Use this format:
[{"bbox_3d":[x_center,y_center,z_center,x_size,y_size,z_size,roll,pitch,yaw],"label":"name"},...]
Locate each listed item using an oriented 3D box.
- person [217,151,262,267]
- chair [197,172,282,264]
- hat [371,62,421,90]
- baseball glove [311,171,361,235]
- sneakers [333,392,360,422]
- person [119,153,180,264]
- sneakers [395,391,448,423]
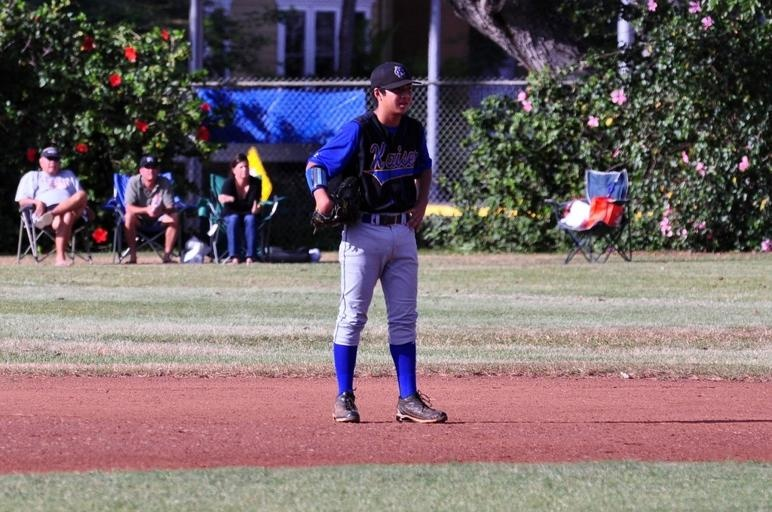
[{"bbox_3d":[-2.101,-0.637,24.163,0.567,1.525,0.543,6,15,19],"label":"person"},{"bbox_3d":[-2.026,-0.468,24.857,1.442,1.477,1.204,1,-3,-24],"label":"chair"},{"bbox_3d":[0.036,-1.846,17.218,0.279,0.172,0.400,-12,14,-43],"label":"hat"},{"bbox_3d":[-0.453,-0.515,17.331,0.412,0.567,0.218,2,-4,6],"label":"baseball glove"},{"bbox_3d":[-0.423,1.577,17.287,0.274,0.289,0.224,-1,15,-6],"label":"sneakers"},{"bbox_3d":[-3.418,-0.622,24.088,0.808,1.513,0.573,-2,15,-10],"label":"person"},{"bbox_3d":[0.317,1.614,17.404,0.572,0.276,0.245,0,-1,16],"label":"sneakers"}]
